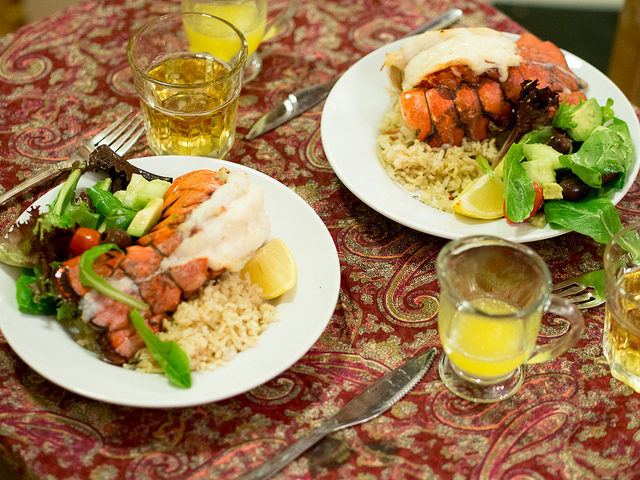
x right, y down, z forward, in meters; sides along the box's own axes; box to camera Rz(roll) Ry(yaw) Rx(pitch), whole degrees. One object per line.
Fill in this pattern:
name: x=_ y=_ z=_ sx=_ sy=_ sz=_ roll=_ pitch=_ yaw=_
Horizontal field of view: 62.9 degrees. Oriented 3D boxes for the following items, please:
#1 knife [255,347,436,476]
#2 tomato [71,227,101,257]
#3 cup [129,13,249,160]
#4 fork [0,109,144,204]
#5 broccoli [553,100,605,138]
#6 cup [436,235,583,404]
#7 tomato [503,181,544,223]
knife: x=0.088 y=0.402 z=1.219 sx=0.508 sy=0.094 sz=0.062 roll=-33 pitch=72 yaw=-12
tomato: x=-0.580 y=0.000 z=1.299 sx=0.069 sy=0.069 sz=0.063 roll=9 pitch=20 yaw=-22
cup: x=-0.419 y=-0.530 z=1.898 sx=0.452 sy=0.422 sz=0.530 roll=-5 pitch=50 yaw=-12
fork: x=-0.784 y=-0.254 z=1.654 sx=0.517 sy=0.056 sz=0.072 roll=-36 pitch=72 yaw=-18
broccoli: x=0.849 y=-0.398 z=1.664 sx=0.115 sy=0.140 sz=0.042 roll=4 pitch=45 yaw=44
cup: x=0.468 y=0.202 z=1.239 sx=0.429 sy=0.337 sz=0.358 roll=5 pitch=69 yaw=3
tomato: x=0.631 y=-0.094 z=1.563 sx=0.104 sy=0.039 sz=0.122 roll=-8 pitch=63 yaw=36
